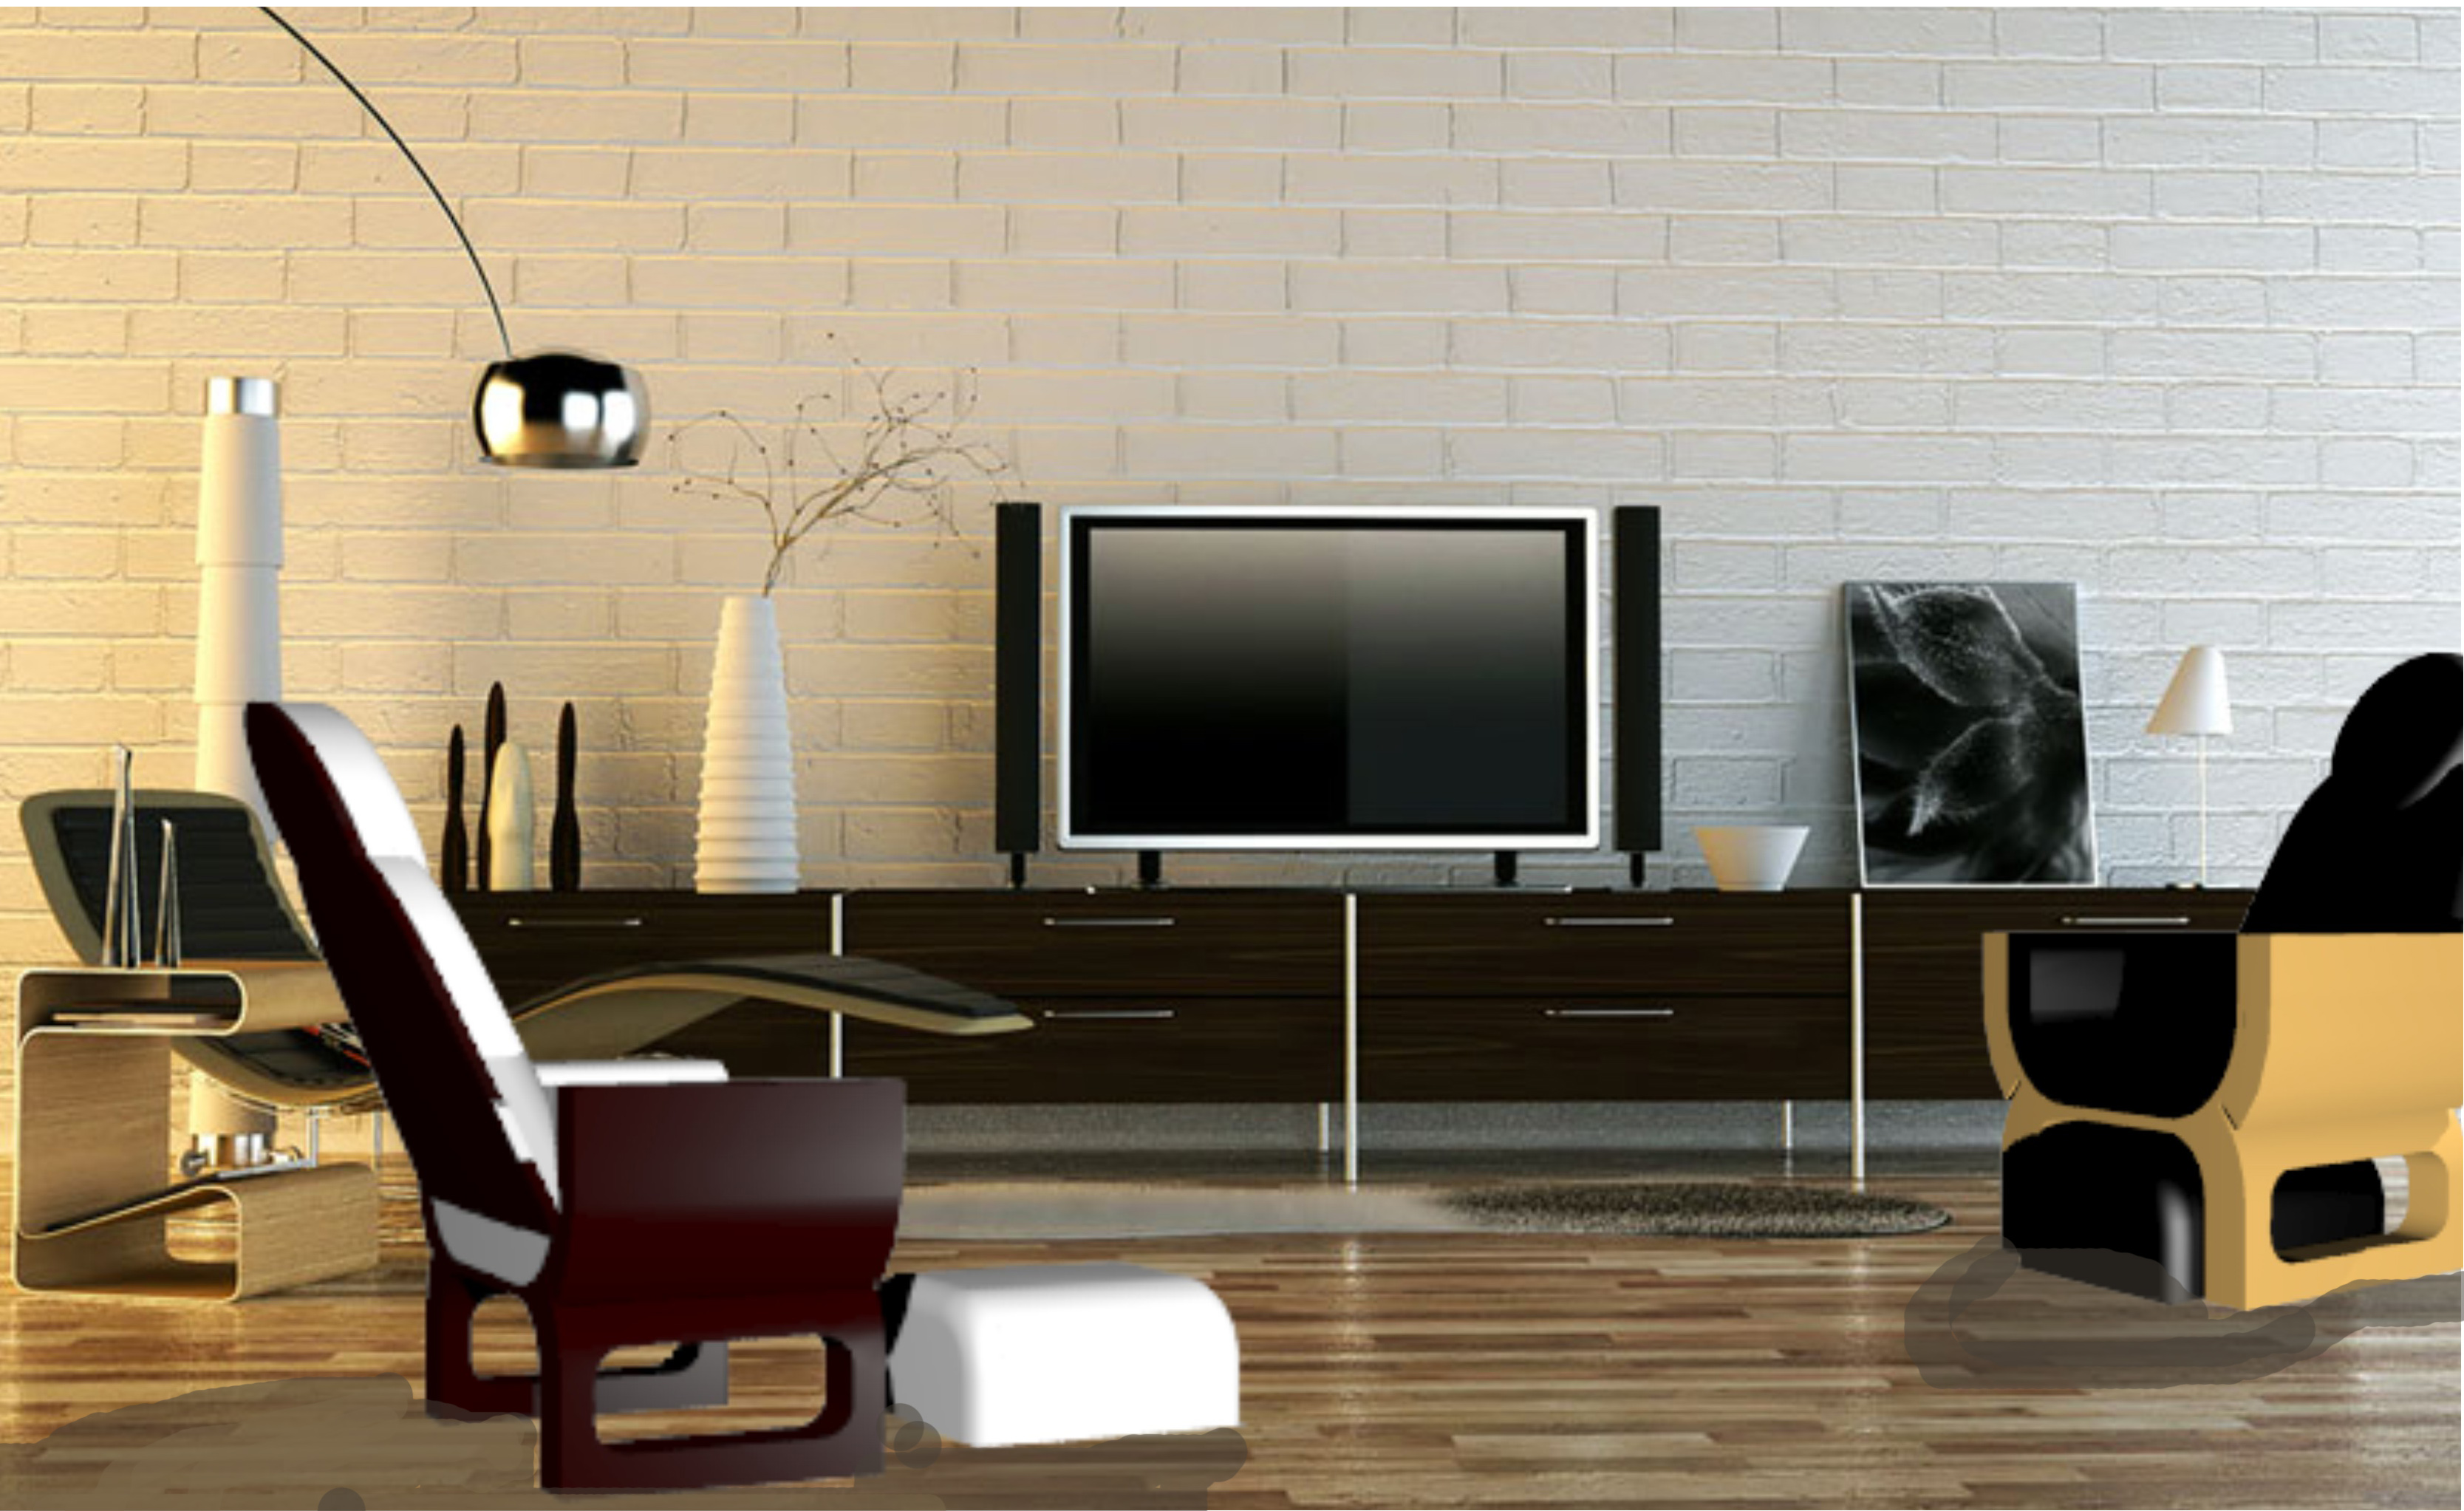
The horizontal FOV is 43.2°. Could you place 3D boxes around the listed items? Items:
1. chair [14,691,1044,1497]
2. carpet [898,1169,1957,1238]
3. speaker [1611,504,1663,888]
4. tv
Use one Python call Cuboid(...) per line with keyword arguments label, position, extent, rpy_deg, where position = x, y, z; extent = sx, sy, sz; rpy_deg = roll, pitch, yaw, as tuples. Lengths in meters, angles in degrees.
Cuboid(label="chair", position=(-1.465, 0.860, 8.075), extent=(2.570, 1.970, 1.937), rpy_deg=(0, -3, -26))
Cuboid(label="carpet", position=(0.539, 1.293, 8.854), extent=(2.883, 0.047, 0.836), rpy_deg=(0, 2, 1))
Cuboid(label="speaker", position=(1.260, -0.189, 9.634), extent=(0.159, 1.162, 0.377), rpy_deg=(0, 3, 6))
Cuboid(label="tv", position=(0.299, -0.221, 9.530), extent=(2.024, 0.747, 0.077), rpy_deg=(0, 1, -1))
